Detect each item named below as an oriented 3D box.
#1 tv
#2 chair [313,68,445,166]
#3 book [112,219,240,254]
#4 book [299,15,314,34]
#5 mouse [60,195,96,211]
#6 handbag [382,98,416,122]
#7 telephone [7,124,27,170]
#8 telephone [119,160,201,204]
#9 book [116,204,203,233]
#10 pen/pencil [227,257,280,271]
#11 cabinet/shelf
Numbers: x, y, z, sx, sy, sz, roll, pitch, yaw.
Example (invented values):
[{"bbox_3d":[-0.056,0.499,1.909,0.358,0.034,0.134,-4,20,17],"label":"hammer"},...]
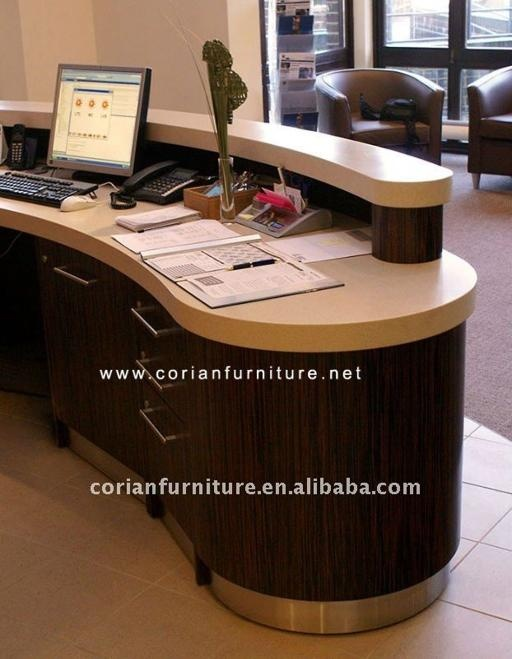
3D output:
[{"bbox_3d":[-0.612,-0.808,2.231,0.431,0.402,0.056,13,10,24],"label":"tv"},{"bbox_3d":[1.222,-2.084,6.084,1.228,1.084,1.229,-19,31,-24],"label":"chair"},{"bbox_3d":[-0.217,-0.254,1.582,0.193,0.022,0.175,-14,28,-23],"label":"book"},{"bbox_3d":[0.483,-2.931,5.570,0.118,0.153,0.080,-4,14,-3],"label":"book"},{"bbox_3d":[-0.596,-0.434,1.942,0.055,0.038,0.108,21,30,37],"label":"mouse"},{"bbox_3d":[1.449,-2.210,5.873,0.308,0.208,0.240,4,42,10],"label":"handbag"},{"bbox_3d":[-1.088,-0.816,2.603,0.080,0.199,0.170,-14,17,-38],"label":"telephone"},{"bbox_3d":[-0.318,-0.531,2.080,0.253,0.086,0.243,18,34,33],"label":"telephone"},{"bbox_3d":[-0.295,-0.332,1.737,0.173,0.030,0.126,-21,31,-36],"label":"book"},{"bbox_3d":[-0.003,-0.144,1.294,0.099,0.017,0.015,-14,24,-24],"label":"pen/pencil"},{"bbox_3d":[-0.369,0.236,1.607,0.277,0.673,0.729,-11,28,-27],"label":"cabinet/shelf"}]
